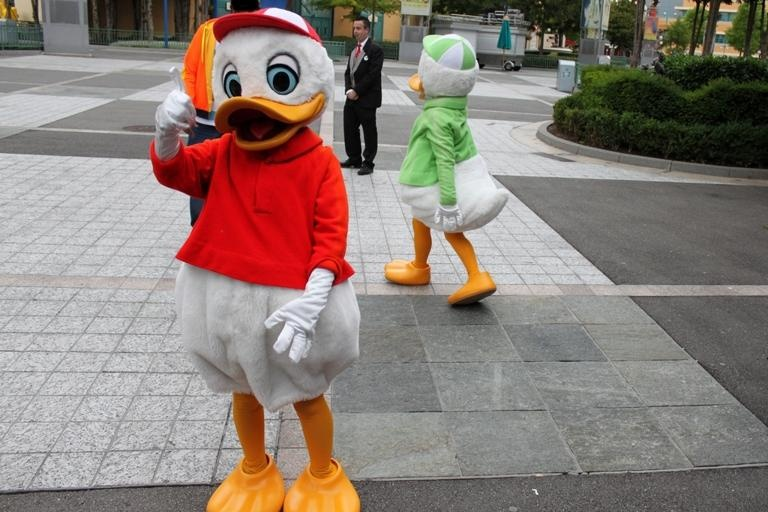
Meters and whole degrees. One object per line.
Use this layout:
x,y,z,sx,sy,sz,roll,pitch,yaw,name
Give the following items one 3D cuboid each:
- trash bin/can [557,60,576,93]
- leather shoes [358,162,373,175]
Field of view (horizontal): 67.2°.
7.832,-7.697,24.720,0.795,1.249,0.913,12,23,21,trash bin/can
-0.301,-1.464,9.708,0.127,0.139,0.341,5,9,24,leather shoes
